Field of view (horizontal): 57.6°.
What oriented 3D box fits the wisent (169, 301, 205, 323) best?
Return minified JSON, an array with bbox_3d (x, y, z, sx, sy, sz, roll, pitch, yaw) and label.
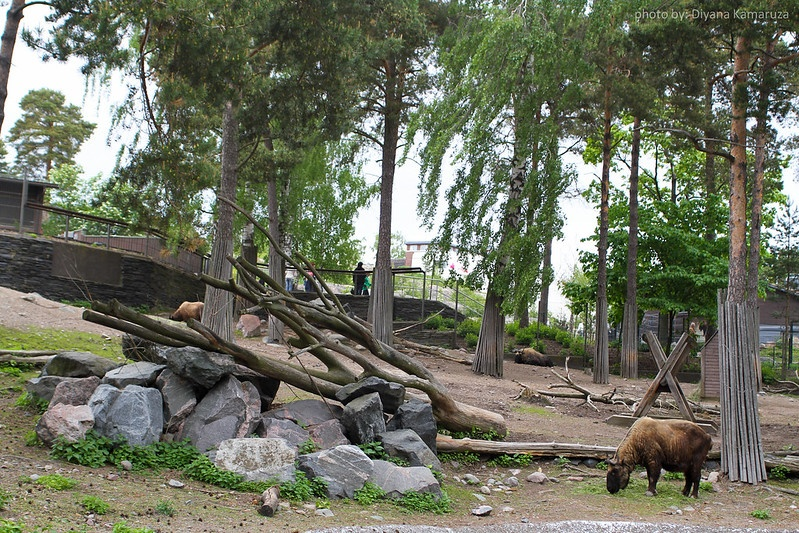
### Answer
[{"bbox_3d":[-7.333,1.579,24.998,1.732,1.038,0.591,-5,-9,36],"label":"wisent"}]
